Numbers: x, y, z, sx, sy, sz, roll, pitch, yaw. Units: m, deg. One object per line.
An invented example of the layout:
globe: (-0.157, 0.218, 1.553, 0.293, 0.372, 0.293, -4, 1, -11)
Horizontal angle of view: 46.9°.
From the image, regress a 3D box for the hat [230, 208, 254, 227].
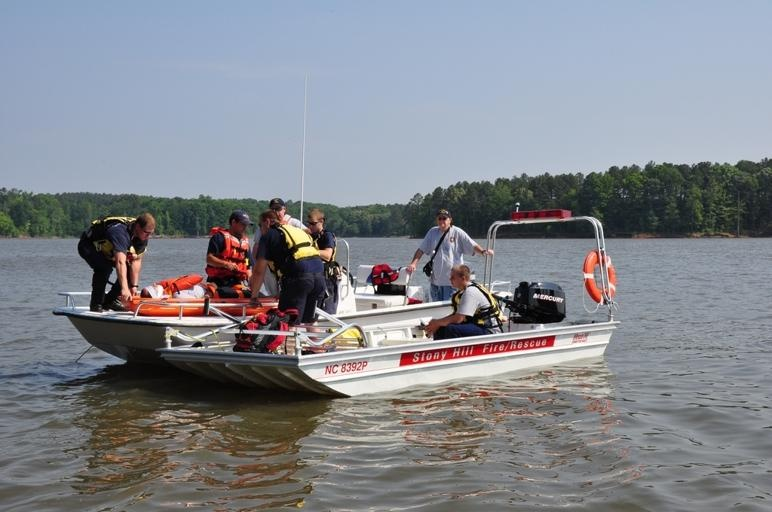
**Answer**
hat: (-2.177, -0.587, 13.414, 0.385, 0.166, 0.251, 0, -4, 32)

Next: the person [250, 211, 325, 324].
person: (-1.326, 0.242, 12.099, 0.971, 1.342, 0.392, -1, 1, -7)

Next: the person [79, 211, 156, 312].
person: (-3.945, 0.075, 13.167, 1.008, 1.440, 0.725, -1, 1, 42)

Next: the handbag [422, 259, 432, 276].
handbag: (0.704, 0.180, 14.892, 0.121, 0.211, 0.208, 6, 4, -29)

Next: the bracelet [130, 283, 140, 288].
bracelet: (-3.764, 0.433, 13.341, 0.156, 0.045, 0.135, -2, -3, 3)

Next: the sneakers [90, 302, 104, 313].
sneakers: (-4.289, 0.751, 13.159, 0.185, 0.097, 0.159, 4, 0, 6)
